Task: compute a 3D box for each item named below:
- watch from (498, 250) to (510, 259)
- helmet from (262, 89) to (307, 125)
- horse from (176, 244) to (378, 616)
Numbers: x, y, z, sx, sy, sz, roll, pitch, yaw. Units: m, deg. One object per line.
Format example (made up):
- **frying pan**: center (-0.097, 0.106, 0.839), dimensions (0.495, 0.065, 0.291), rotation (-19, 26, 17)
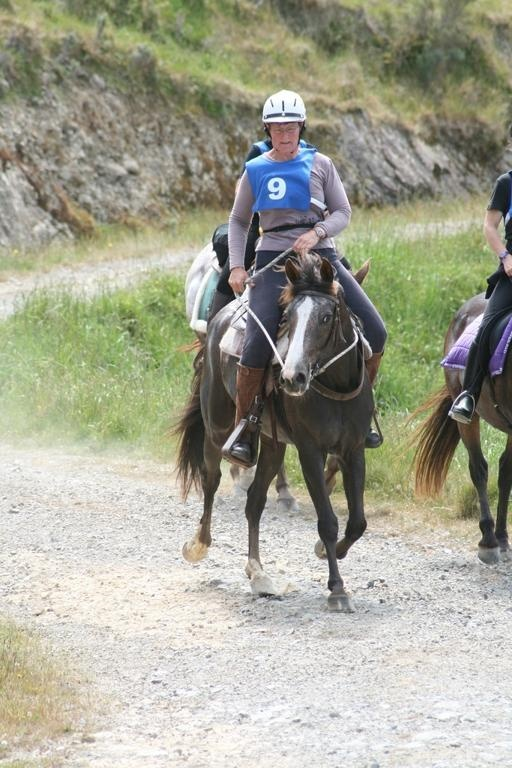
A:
- **watch**: center (1.575, -0.820, 7.596), dimensions (0.013, 0.056, 0.058), rotation (36, -7, -18)
- **helmet**: center (0.168, -1.599, 6.946), dimensions (0.234, 0.208, 0.275), rotation (0, 7, -1)
- **horse**: center (0.129, 0.213, 7.277), dimensions (0.999, 2.024, 2.272), rotation (-2, 7, -13)
